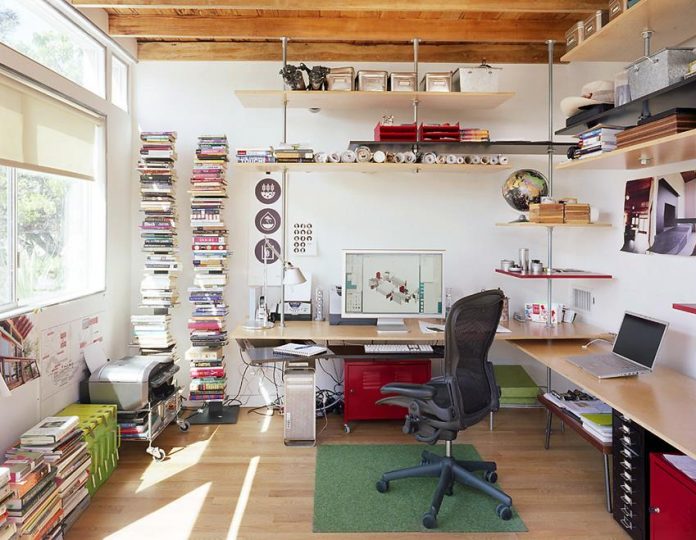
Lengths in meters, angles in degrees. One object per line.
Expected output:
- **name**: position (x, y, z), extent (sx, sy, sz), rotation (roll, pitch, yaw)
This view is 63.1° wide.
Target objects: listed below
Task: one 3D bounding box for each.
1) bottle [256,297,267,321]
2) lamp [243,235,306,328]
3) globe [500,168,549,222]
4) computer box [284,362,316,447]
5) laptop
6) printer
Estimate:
- **bottle**: position (-0.697, 0.323, 4.572), extent (0.072, 0.172, 0.136), rotation (5, -3, -5)
- **lamp**: position (-0.551, 0.167, 4.477), extent (0.364, 0.851, 0.680), rotation (0, 1, -35)
- **globe**: position (1.476, -0.620, 4.702), extent (0.372, 0.414, 0.355), rotation (14, 42, 28)
- **computer box**: position (-0.391, 1.021, 4.306), extent (0.292, 0.571, 0.237), rotation (3, 4, -8)
- **laptop**: position (1.849, 0.493, 3.721), extent (0.348, 0.351, 0.700), rotation (4, 4, -5)
- **printer**: position (-1.633, 0.831, 4.244), extent (0.426, 0.320, 0.522), rotation (2, 3, 8)
